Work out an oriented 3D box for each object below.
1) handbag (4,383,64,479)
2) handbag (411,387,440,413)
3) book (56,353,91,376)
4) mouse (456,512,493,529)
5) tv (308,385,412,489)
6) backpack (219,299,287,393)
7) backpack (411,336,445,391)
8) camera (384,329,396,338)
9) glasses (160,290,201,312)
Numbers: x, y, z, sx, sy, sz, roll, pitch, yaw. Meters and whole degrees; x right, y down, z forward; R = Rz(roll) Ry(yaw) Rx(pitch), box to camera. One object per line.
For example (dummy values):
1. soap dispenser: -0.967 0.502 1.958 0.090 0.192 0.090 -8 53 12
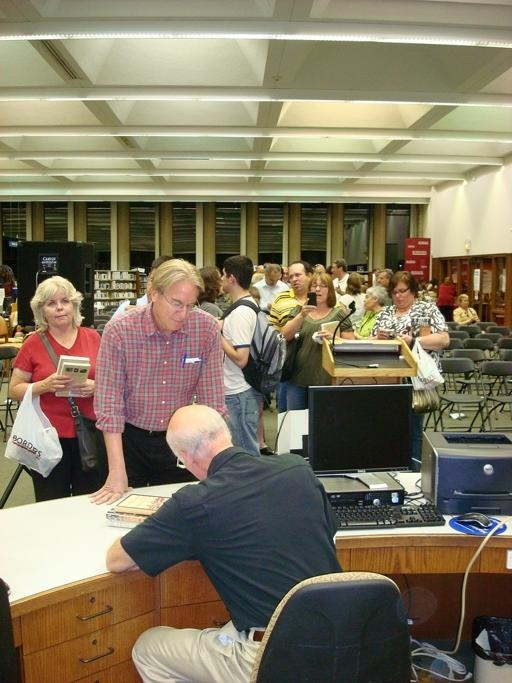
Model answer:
1. handbag: -0.882 0.360 2.187 0.188 0.360 0.147 4 5 31
2. handbag: 0.949 0.320 3.110 0.202 0.104 0.253 -2 6 6
3. book: -0.732 0.098 2.249 0.147 0.130 0.074 2 28 -21
4. mouse: 0.747 0.593 1.876 0.074 0.021 0.055 4 1 31
5. tv: 0.378 0.347 2.066 0.417 0.322 0.040 0 2 -5
6. backpack: -0.044 -0.029 3.462 0.469 0.754 0.547 -1 8 -5
7. backpack: 0.924 0.110 3.138 0.108 0.281 0.227 -20 -30 33
8. camera: 0.794 -0.047 3.281 0.064 0.028 0.087 0 -1 6
9. glasses: -0.236 -0.129 1.869 0.140 0.063 0.082 -3 6 -41
